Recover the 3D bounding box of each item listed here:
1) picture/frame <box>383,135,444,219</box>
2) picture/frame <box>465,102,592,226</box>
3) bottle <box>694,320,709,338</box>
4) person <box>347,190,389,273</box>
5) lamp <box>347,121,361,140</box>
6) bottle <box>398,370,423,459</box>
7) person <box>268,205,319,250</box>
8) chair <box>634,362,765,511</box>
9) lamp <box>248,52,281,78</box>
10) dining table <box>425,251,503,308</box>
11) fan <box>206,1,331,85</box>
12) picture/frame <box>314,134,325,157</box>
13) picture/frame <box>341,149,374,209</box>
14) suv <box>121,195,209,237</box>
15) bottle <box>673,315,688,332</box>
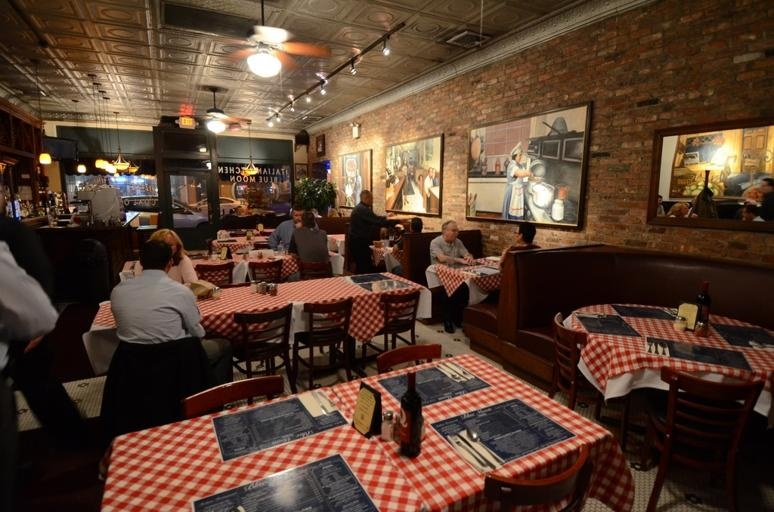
[{"bbox_3d":[0.585,-1.639,10.152,0.081,1.408,1.948,-2,10,-31],"label":"picture/frame"},{"bbox_3d":[2.233,-1.432,7.648,0.110,1.504,2.163,-1,7,-32],"label":"picture/frame"},{"bbox_3d":[3.043,0.712,4.882,0.158,0.143,0.107,-3,6,-24],"label":"bottle"},{"bbox_3d":[-0.369,-0.394,9.076,0.679,1.604,1.267,0,10,-5],"label":"person"},{"bbox_3d":[-0.803,-3.106,12.340,0.168,0.411,0.483,-3,10,-21],"label":"lamp"},{"bbox_3d":[0.175,1.134,3.601,0.175,0.625,0.158,1,10,1],"label":"bottle"},{"bbox_3d":[-1.624,-0.296,8.607,0.804,1.062,0.592,5,0,-27],"label":"person"},{"bbox_3d":[2.786,1.589,4.450,0.777,1.288,0.910,6,11,28],"label":"chair"},{"bbox_3d":[-1.572,-2.445,6.319,0.371,0.239,0.310,-3,10,-21],"label":"lamp"},{"bbox_3d":[1.026,0.298,6.954,0.768,0.266,0.744,-4,8,-33],"label":"dining table"},{"bbox_3d":[-1.453,-2.802,6.894,1.382,1.170,1.211,-4,7,-35],"label":"fan"},{"bbox_3d":[-1.996,-3.311,14.800,0.057,0.727,0.775,-2,6,-28],"label":"picture/frame"},{"bbox_3d":[-0.690,-1.903,11.915,0.073,1.406,2.007,-2,6,-24],"label":"picture/frame"},{"bbox_3d":[-6.306,-1.086,14.059,2.770,0.887,1.202,-1,13,-7],"label":"suv"},{"bbox_3d":[2.899,0.673,4.918,0.128,0.118,0.131,-1,1,45],"label":"bottle"}]
